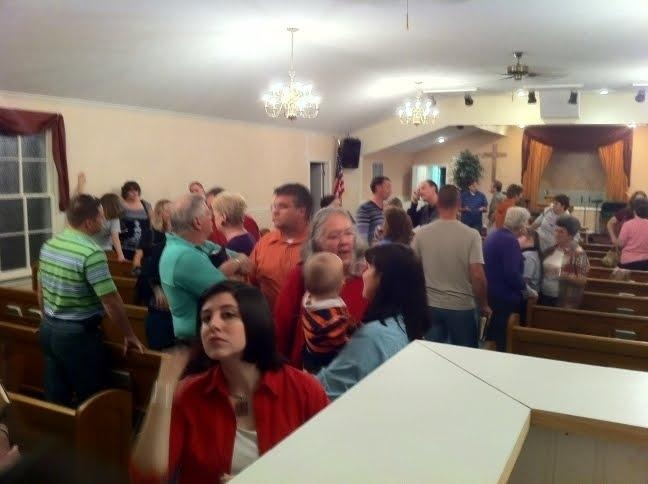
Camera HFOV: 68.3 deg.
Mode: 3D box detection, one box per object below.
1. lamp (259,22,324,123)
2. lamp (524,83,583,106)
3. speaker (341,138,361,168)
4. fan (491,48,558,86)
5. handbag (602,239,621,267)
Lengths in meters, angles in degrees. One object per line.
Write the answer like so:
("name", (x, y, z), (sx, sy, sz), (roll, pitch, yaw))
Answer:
("lamp", (-0.410, -2.124, 6.062), (0.729, 1.158, 0.721), (-7, 16, -30))
("lamp", (4.118, -2.683, 8.766), (1.306, 0.343, 0.873), (-1, 10, -11))
("speaker", (0.574, -2.198, 11.463), (0.514, 0.799, 0.413), (-9, 31, -23))
("fan", (2.632, -2.375, 6.425), (0.664, 0.334, 0.577), (-14, 17, -36))
("handbag", (3.835, 0.150, 6.371), (0.098, 0.317, 0.186), (12, 17, 5))
